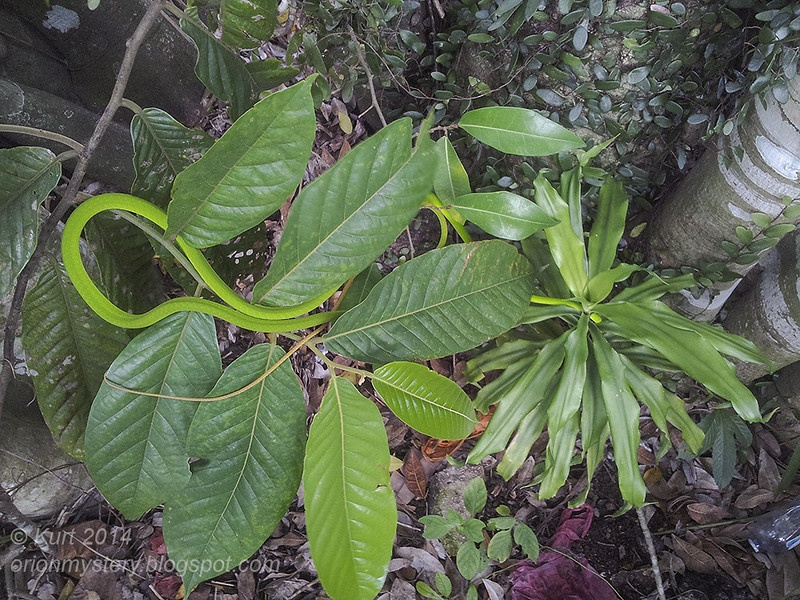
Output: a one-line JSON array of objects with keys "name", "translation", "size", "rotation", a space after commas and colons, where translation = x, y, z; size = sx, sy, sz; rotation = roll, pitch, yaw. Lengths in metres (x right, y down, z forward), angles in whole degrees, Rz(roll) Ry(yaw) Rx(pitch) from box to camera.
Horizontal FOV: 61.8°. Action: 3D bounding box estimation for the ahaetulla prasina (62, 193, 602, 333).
[{"name": "ahaetulla prasina", "translation": [-0.494, -0.041, 1.684], "size": [0.693, 0.299, 0.196], "rotation": [26, 35, -13]}]
